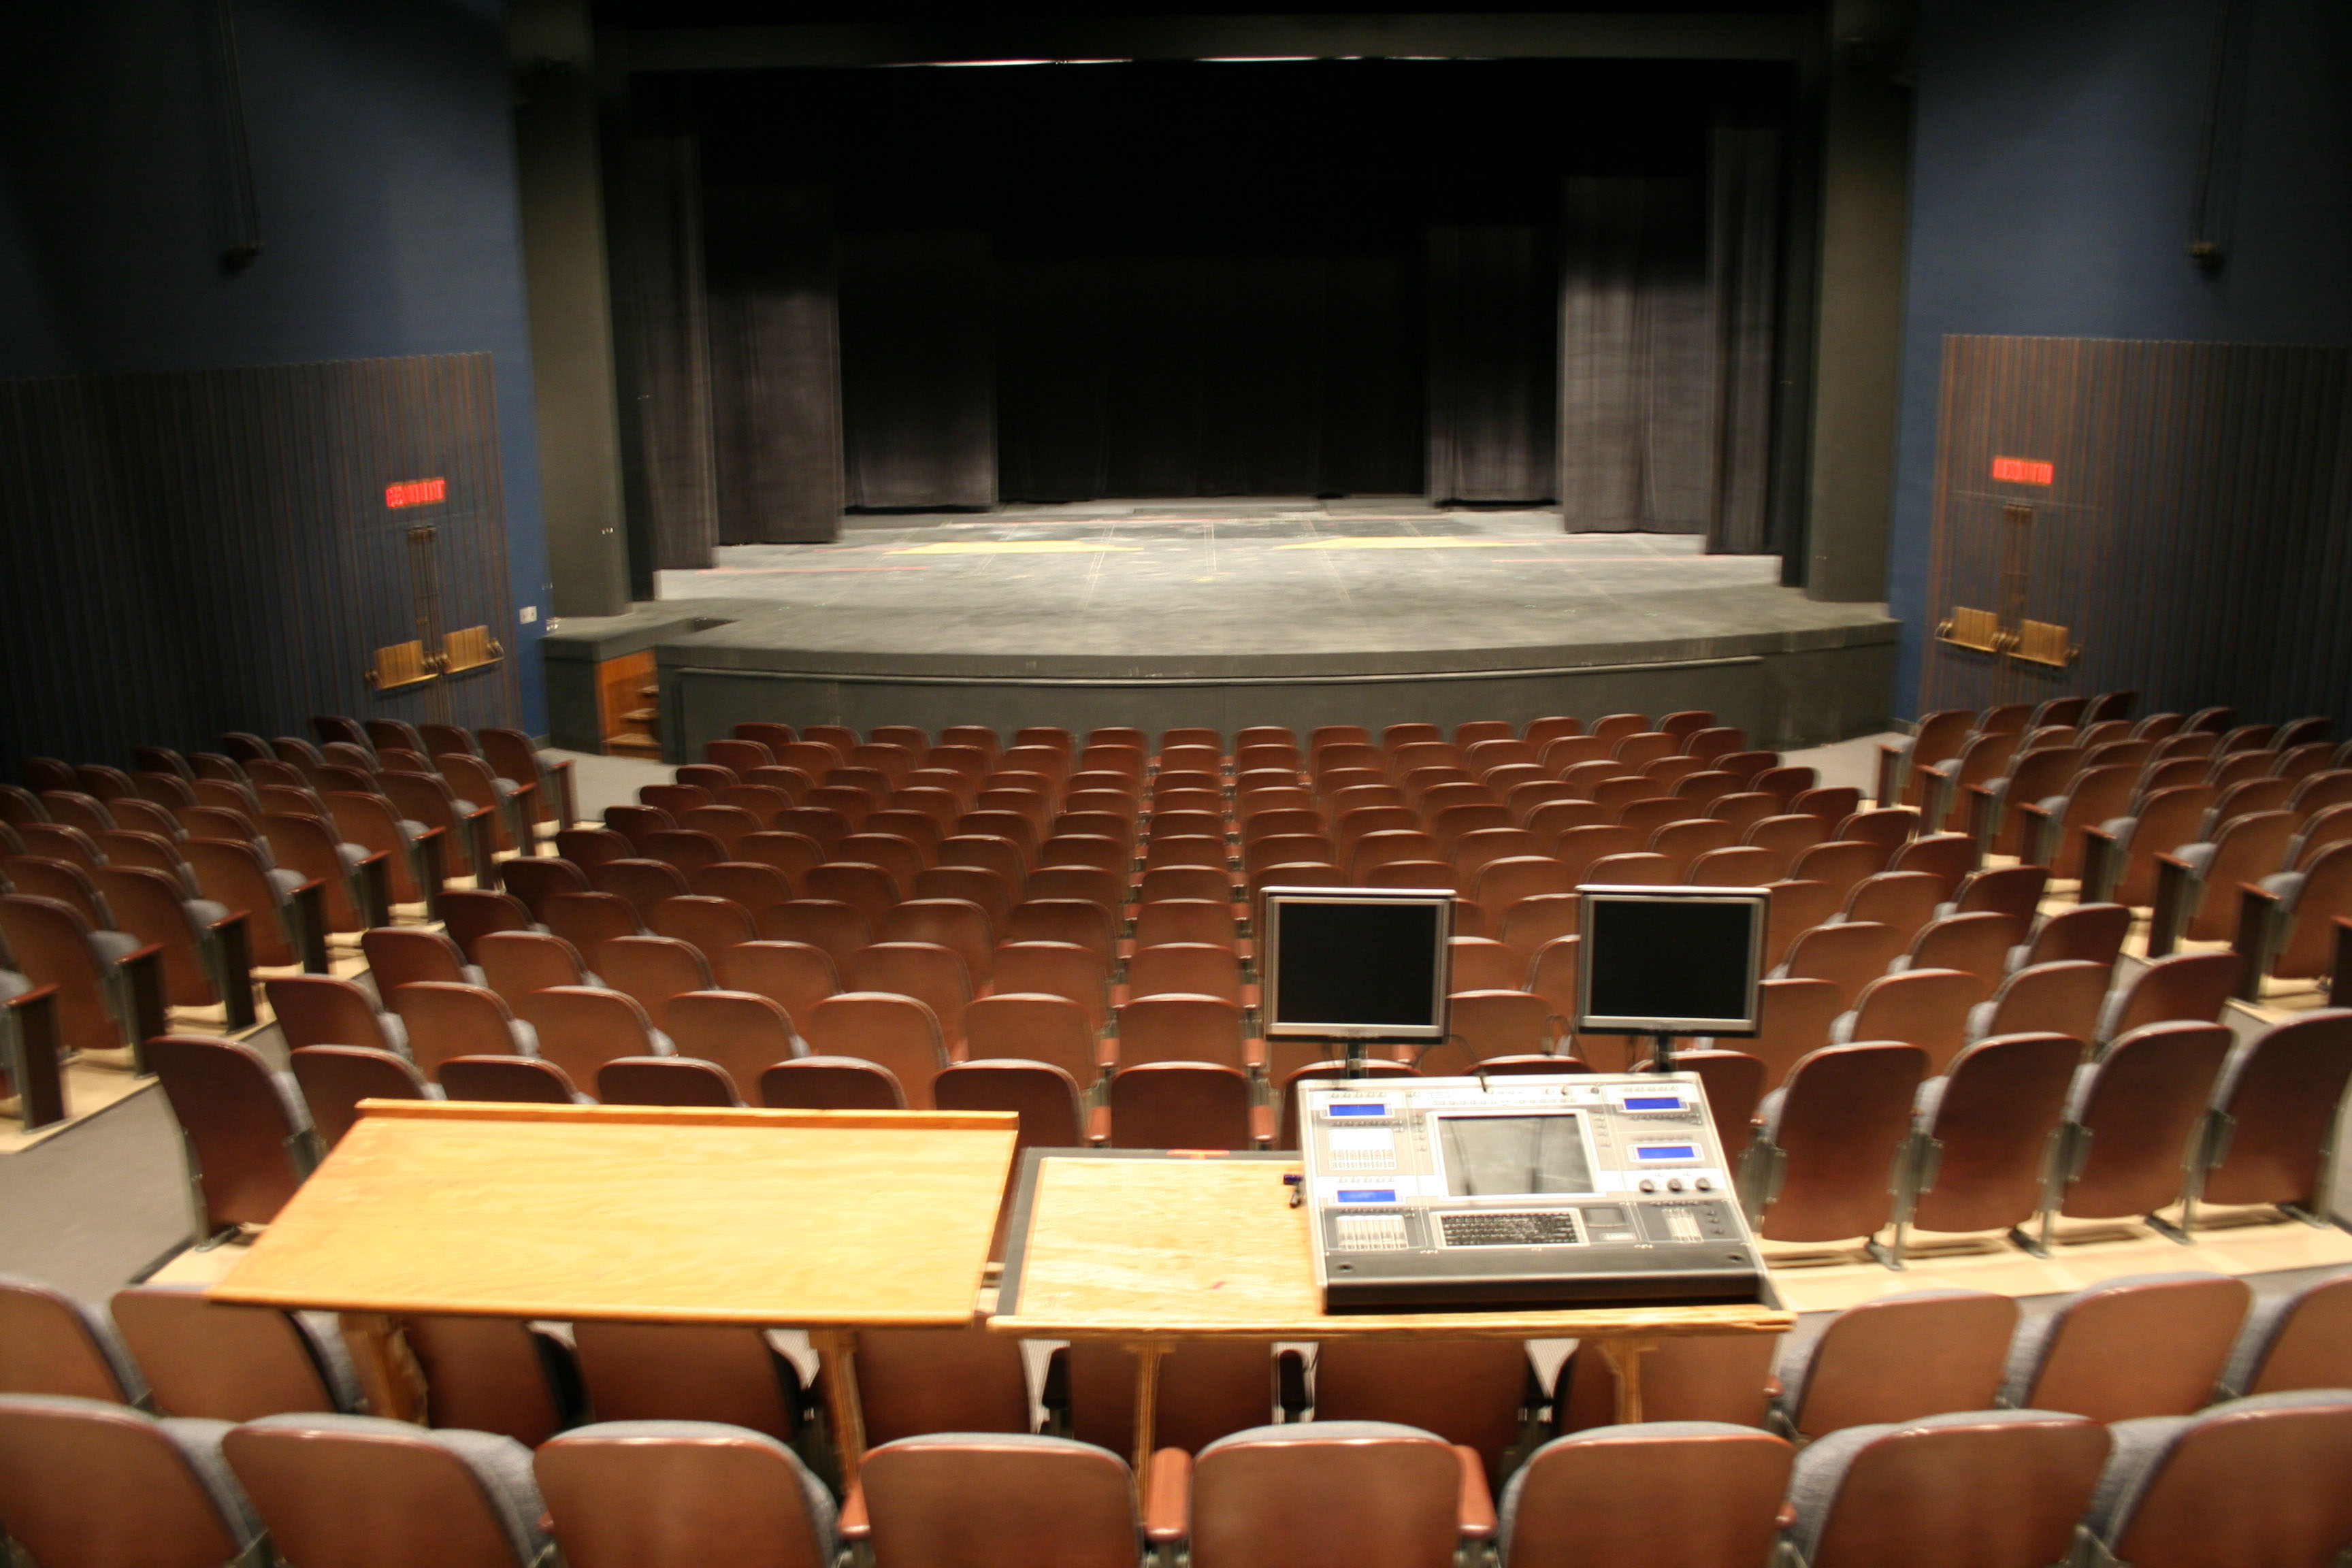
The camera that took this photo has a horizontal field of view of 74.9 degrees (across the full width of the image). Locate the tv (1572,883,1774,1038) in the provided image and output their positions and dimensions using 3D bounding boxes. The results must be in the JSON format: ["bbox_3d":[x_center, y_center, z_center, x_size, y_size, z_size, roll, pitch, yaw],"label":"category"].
[{"bbox_3d":[1.448,0.517,4.494,0.538,0.409,0.066,1,2,0],"label":"tv"}]

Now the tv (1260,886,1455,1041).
[{"bbox_3d":[0.506,0.504,4.311,0.465,0.376,0.086,1,2,4],"label":"tv"}]
